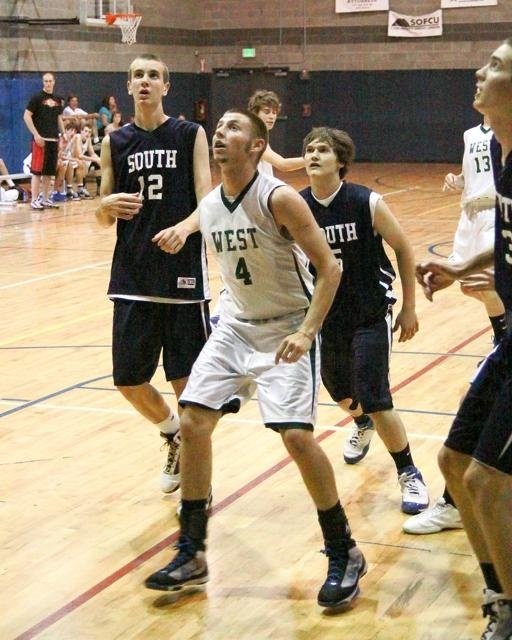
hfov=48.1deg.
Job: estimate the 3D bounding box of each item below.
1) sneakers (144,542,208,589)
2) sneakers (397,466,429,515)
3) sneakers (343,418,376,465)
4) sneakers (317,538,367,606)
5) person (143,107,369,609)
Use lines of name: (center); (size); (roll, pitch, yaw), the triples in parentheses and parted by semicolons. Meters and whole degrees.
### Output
sneakers: (-0.239, 0.737, 1.738); (0.218, 0.145, 0.078); (8, -18, -38)
sneakers: (0.654, 0.723, 2.432); (0.084, 0.089, 0.220); (-15, 0, 6)
sneakers: (0.527, 0.619, 3.003); (0.109, 0.287, 0.137); (18, 3, 35)
sneakers: (0.277, 0.745, 1.719); (0.085, 0.152, 0.234); (-19, 1, 30)
person: (0.016, 0.092, 1.809); (0.630, 1.508, 0.470); (-1, 3, 11)
